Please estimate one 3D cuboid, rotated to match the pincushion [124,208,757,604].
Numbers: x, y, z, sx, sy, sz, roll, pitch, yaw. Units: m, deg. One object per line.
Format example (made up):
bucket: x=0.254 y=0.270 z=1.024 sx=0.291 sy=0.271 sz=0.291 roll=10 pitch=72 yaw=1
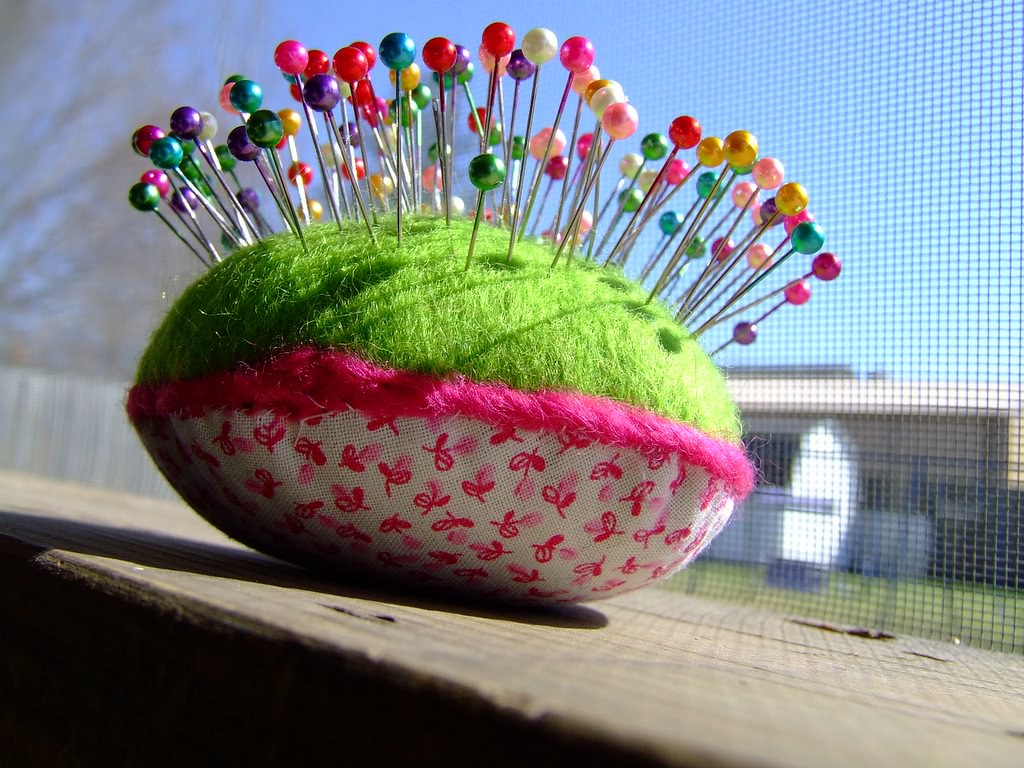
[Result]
pincushion: x=-0.073 y=0.023 z=1.006 sx=0.634 sy=0.283 sz=0.280 roll=8 pitch=42 yaw=7
